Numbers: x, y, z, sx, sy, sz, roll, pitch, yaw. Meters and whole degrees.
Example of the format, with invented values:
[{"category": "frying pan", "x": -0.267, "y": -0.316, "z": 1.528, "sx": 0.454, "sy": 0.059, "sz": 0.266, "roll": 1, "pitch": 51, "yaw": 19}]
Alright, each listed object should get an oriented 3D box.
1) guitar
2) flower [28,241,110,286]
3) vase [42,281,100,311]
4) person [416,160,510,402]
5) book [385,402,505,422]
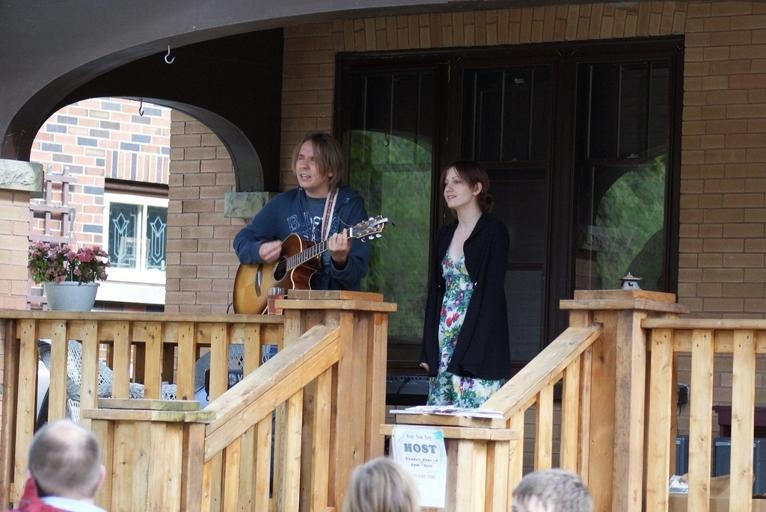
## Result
[{"category": "guitar", "x": -0.528, "y": 0.104, "z": 9.706, "sx": 0.175, "sy": 0.532, "sz": 1.276, "roll": 14, "pitch": -23, "yaw": -33}, {"category": "flower", "x": -2.410, "y": 0.053, "z": 10.957, "sx": 0.598, "sy": 0.318, "sz": 0.313, "roll": 1, "pitch": -2, "yaw": -16}, {"category": "vase", "x": -2.367, "y": 0.338, "z": 10.914, "sx": 0.266, "sy": 0.163, "sz": 0.267, "roll": 2, "pitch": -5, "yaw": -23}, {"category": "person", "x": 0.529, "y": 0.173, "z": 9.337, "sx": 0.601, "sy": 1.602, "sz": 0.371, "roll": 0, "pitch": -2, "yaw": 17}, {"category": "book", "x": 0.386, "y": 0.887, "z": 8.089, "sx": 0.600, "sy": 0.062, "sz": 0.135, "roll": 0, "pitch": -2, "yaw": 7}]
